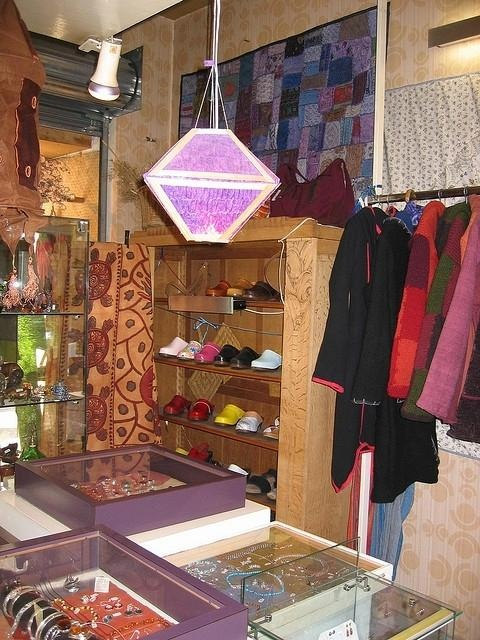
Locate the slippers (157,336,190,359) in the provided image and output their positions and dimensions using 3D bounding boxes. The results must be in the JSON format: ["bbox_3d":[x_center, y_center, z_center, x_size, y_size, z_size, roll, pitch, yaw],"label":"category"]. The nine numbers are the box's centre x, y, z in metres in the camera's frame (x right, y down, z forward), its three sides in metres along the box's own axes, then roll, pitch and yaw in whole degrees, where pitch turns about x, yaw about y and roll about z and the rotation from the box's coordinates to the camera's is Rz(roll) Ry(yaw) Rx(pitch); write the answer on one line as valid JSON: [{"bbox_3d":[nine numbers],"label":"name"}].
[{"bbox_3d":[-0.399,0.166,3.164,0.074,0.087,0.217,2,-2,25],"label":"slippers"}]

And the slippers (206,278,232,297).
[{"bbox_3d":[-0.120,-0.174,2.974,0.063,0.062,0.170,1,4,28],"label":"slippers"}]

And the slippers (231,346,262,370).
[{"bbox_3d":[0.028,0.202,2.814,0.095,0.094,0.251,-1,-4,17],"label":"slippers"}]

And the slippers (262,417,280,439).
[{"bbox_3d":[0.162,0.550,2.670,0.054,0.054,0.145,1,-5,22],"label":"slippers"}]

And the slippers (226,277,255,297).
[{"bbox_3d":[0.006,-0.168,2.871,0.072,0.072,0.209,12,5,22],"label":"slippers"}]

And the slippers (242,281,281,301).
[{"bbox_3d":[0.131,-0.157,2.786,0.100,0.056,0.162,10,0,29],"label":"slippers"}]

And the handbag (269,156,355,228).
[{"bbox_3d":[0.378,-0.605,2.639,0.560,0.369,0.325,13,18,36],"label":"handbag"}]

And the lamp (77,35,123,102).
[{"bbox_3d":[-0.628,-1.127,2.362,0.190,0.283,0.163,14,17,8],"label":"lamp"}]

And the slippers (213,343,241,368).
[{"bbox_3d":[-0.074,0.195,2.896,0.103,0.108,0.289,3,-2,14],"label":"slippers"}]

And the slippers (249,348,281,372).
[{"bbox_3d":[0.130,0.201,2.676,0.145,0.078,0.142,1,1,-13],"label":"slippers"}]
